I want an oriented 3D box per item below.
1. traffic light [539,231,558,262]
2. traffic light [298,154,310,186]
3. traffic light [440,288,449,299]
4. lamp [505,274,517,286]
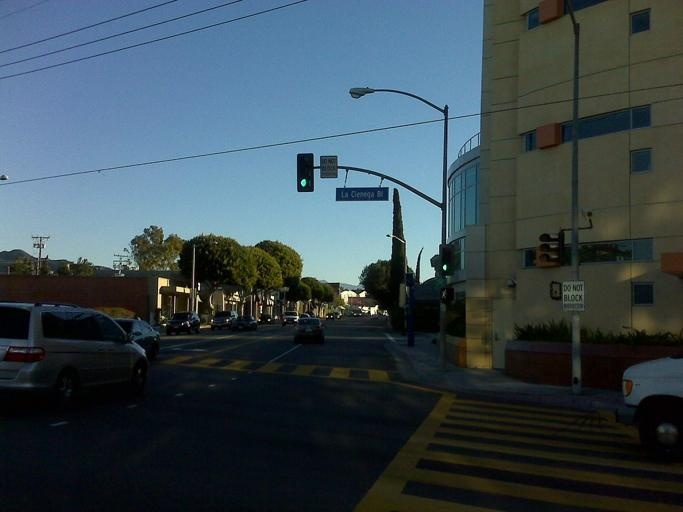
[{"bbox_3d":[6.079,-0.238,18.928,0.925,0.830,0.475,4,-7,-41],"label":"traffic light"},{"bbox_3d":[-1.289,-2.955,22.393,0.517,1.185,0.232,0,-5,-6],"label":"traffic light"},{"bbox_3d":[3.739,1.365,23.225,0.298,0.340,0.077,3,-3,-21],"label":"traffic light"},{"bbox_3d":[6.593,0.947,24.789,0.268,0.521,0.472,2,-6,-29],"label":"lamp"}]
